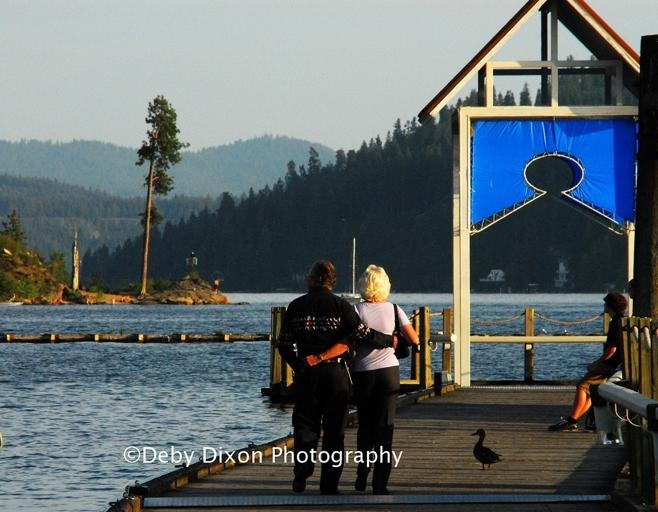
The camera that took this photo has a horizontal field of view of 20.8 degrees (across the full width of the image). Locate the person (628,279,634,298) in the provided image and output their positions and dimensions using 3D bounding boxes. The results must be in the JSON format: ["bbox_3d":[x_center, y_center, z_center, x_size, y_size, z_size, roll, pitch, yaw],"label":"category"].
[{"bbox_3d":[29.703,3.473,176.523,0.804,2.211,1.554,1,-4,11],"label":"person"}]
